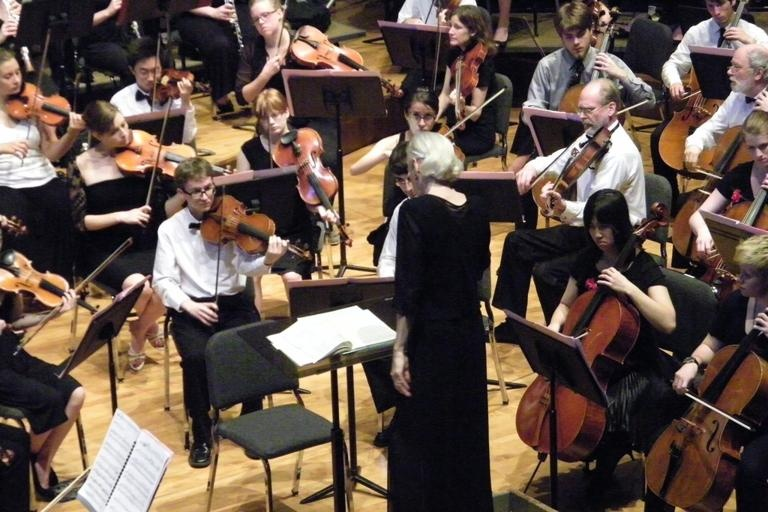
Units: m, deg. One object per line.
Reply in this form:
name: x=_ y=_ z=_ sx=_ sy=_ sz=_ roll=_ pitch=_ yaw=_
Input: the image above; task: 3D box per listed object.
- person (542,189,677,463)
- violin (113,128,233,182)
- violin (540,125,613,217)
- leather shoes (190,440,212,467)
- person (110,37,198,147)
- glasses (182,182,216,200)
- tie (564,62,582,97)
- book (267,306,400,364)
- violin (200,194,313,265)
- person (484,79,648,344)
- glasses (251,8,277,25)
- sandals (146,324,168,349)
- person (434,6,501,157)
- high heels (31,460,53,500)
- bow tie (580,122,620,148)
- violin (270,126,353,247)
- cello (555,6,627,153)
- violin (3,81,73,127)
person: x=1.357 y=0.476 z=4.318 sx=0.713 sy=1.733 sz=0.620 roll=10 pitch=23 yaw=30
violin: x=-1.616 y=-0.721 z=5.515 sx=0.786 sy=0.121 sz=0.284 roll=3 pitch=55 yaw=-24
violin: x=1.221 y=-0.635 z=5.021 sx=0.208 sy=0.683 sz=0.361 roll=43 pitch=13 yaw=3
leather shoes: x=-1.160 y=1.258 z=4.640 sx=0.104 sy=0.124 sz=0.206 roll=1 pitch=-1 yaw=-5
person: x=-1.906 y=-1.385 z=6.410 sx=0.778 sy=0.211 sz=0.447 roll=21 pitch=-20 yaw=26
glasses: x=-1.177 y=-0.415 z=4.589 sx=0.189 sy=0.089 sz=0.077 roll=-5 pitch=20 yaw=-13
tie: x=1.594 y=-1.484 z=6.050 sx=0.115 sy=0.280 sz=0.047 roll=10 pitch=5 yaw=21
book: x=-0.243 y=0.342 z=3.193 sx=0.365 sy=0.074 sz=0.248 roll=-14 pitch=29 yaw=-27
violin: x=-0.878 y=-0.163 z=4.729 sx=0.607 sy=0.263 sz=0.180 roll=29 pitch=-7 yaw=-13
person: x=1.325 y=-0.295 z=5.221 sx=1.129 sy=1.828 sz=0.698 roll=-6 pitch=20 yaw=-12
glasses: x=-1.081 y=-2.157 z=6.558 sx=0.227 sy=0.128 sz=0.089 roll=-3 pitch=19 yaw=-5
sandals: x=-1.695 y=0.595 z=5.415 sx=0.098 sy=0.236 sz=0.066 roll=-19 pitch=15 yaw=-19
person: x=0.718 y=-1.492 z=6.239 sx=0.252 sy=1.287 sz=0.524 roll=5 pitch=-7 yaw=-35
high heels: x=-2.035 y=1.339 z=4.357 sx=0.101 sy=0.249 sz=0.091 roll=-13 pitch=-2 yaw=9
bow tie: x=1.467 y=-0.815 z=4.893 sx=0.250 sy=0.077 sz=0.140 roll=-38 pitch=3 yaw=17
violin: x=-0.598 y=-0.637 z=5.684 sx=0.457 sy=1.109 sz=0.197 roll=-32 pitch=-9 yaw=-19
cello: x=1.739 y=-1.608 z=6.150 sx=0.510 sy=1.241 sz=0.226 roll=15 pitch=-5 yaw=12
violin: x=-2.725 y=-1.176 z=5.662 sx=0.509 sy=0.247 sz=0.130 roll=26 pitch=-7 yaw=-27
